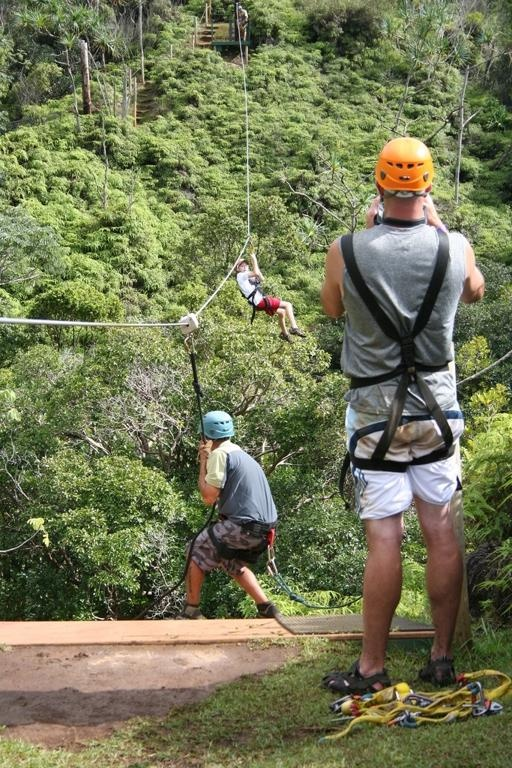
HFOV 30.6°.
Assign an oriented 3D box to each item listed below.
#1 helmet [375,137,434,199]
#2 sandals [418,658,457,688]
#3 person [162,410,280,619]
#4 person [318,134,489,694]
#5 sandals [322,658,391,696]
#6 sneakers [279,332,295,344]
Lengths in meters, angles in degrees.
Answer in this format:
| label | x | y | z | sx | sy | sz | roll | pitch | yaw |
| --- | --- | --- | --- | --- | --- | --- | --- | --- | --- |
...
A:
| label | x | y | z | sx | sy | sz | roll | pitch | yaw |
| --- | --- | --- | --- | --- | --- | --- | --- | --- | --- |
| helmet | 0.501 | -0.731 | 3.220 | 0.188 | 0.221 | 0.180 | 3 | -37 | 9 |
| sandals | 0.631 | 1.003 | 3.258 | 0.066 | 0.068 | 0.167 | 1 | -9 | 2 |
| person | -0.166 | 0.730 | 4.741 | 0.530 | 0.712 | 0.281 | -6 | 4 | 6 |
| person | 0.484 | 0.106 | 3.206 | 0.670 | 1.908 | 0.323 | -7 | 4 | 1 |
| sandals | 0.337 | 1.009 | 3.225 | 0.221 | 0.082 | 0.109 | -1 | -22 | 18 |
| sneakers | 0.375 | -0.631 | 12.260 | 0.218 | 0.072 | 0.094 | 35 | -2 | 21 |
